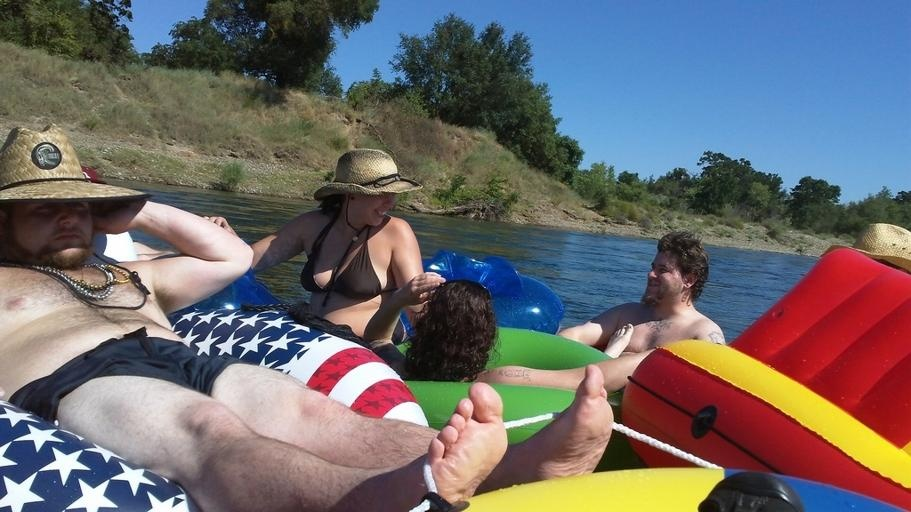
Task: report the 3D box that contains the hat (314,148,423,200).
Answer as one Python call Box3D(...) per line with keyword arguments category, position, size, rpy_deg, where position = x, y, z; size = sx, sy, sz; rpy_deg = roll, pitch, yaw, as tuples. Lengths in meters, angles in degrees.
Box3D(category="hat", position=(-0.638, -0.593, 5.002), size=(0.857, 0.318, 0.742), rpy_deg=(-4, 8, 15))
